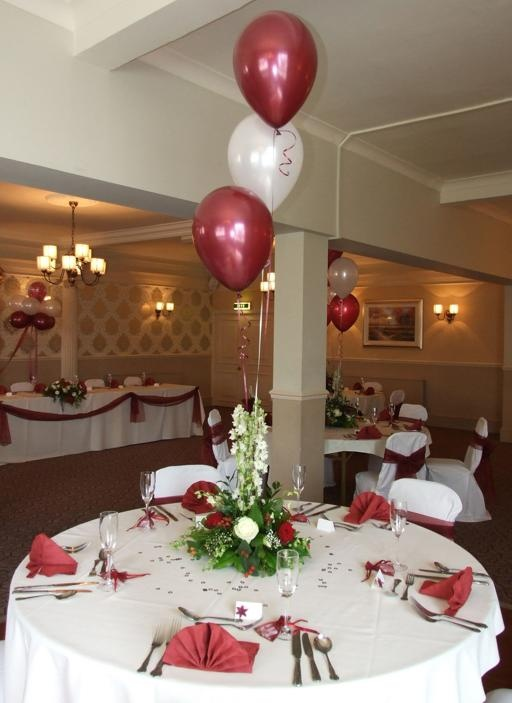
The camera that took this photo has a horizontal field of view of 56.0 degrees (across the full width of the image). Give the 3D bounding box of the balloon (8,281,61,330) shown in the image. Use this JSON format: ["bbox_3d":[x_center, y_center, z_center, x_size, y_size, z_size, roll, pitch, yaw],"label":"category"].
[{"bbox_3d":[-3.288,-0.719,7.183,0.634,0.776,0.865,1,-2,-13],"label":"balloon"}]

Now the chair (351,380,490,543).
[{"bbox_3d":[1.484,0.998,4.902,1.202,1.423,1.193,-2,7,-34],"label":"chair"}]

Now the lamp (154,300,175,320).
[{"bbox_3d":[-2.156,-0.989,11.472,0.377,0.548,0.453,1,3,32],"label":"lamp"}]

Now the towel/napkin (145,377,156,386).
[{"bbox_3d":[-1.965,0.546,8.834,0.279,0.145,0.386,1,0,-6],"label":"towel/napkin"}]

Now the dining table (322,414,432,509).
[{"bbox_3d":[1.094,0.907,4.950,1.043,0.811,1.030,-1,2,-29],"label":"dining table"}]

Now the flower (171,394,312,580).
[{"bbox_3d":[0.038,0.446,1.920,0.605,0.640,0.561,2,-1,-24],"label":"flower"}]

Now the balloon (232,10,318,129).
[{"bbox_3d":[0.088,-1.147,2.070,0.367,0.503,0.415,-2,11,3],"label":"balloon"}]

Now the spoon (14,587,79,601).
[{"bbox_3d":[-0.632,0.723,1.427,0.218,0.033,0.060,0,-10,-5],"label":"spoon"}]

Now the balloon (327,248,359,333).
[{"bbox_3d":[1.027,-0.722,5.644,0.352,0.920,1.154,0,-2,9],"label":"balloon"}]

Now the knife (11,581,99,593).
[{"bbox_3d":[-0.624,0.731,1.485,0.230,0.013,0.032,1,7,-8],"label":"knife"}]

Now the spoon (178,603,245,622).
[{"bbox_3d":[-0.120,0.712,1.304,0.188,0.034,0.040,-3,-1,7],"label":"spoon"}]

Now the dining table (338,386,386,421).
[{"bbox_3d":[1.681,0.707,7.509,0.632,0.462,0.652,4,17,14],"label":"dining table"}]

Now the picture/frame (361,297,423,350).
[{"bbox_3d":[3.122,-0.650,10.784,1.123,0.986,0.090,6,9,39],"label":"picture/frame"}]

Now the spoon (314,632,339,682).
[{"bbox_3d":[0.160,0.690,1.072,0.038,0.022,0.158,-6,3,-5],"label":"spoon"}]

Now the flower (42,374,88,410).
[{"bbox_3d":[-2.773,0.603,6.977,0.595,0.405,0.397,1,-2,-23],"label":"flower"}]

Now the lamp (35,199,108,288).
[{"bbox_3d":[-2.836,-1.685,7.282,0.823,1.382,0.955,-2,8,-21],"label":"lamp"}]
